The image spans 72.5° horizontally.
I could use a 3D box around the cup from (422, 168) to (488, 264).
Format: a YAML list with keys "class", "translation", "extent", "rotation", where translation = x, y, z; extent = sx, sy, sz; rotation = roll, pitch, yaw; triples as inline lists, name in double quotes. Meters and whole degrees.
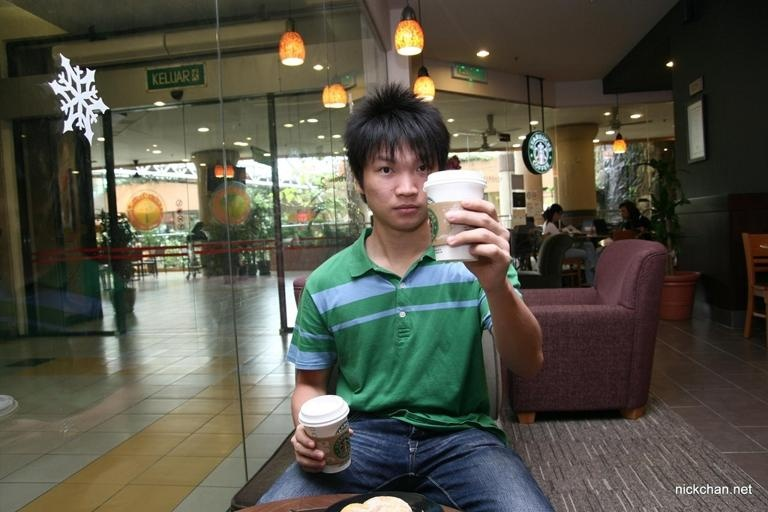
- class: "cup"
  translation: [0.218, -0.120, 1.568]
  extent: [0.183, 0.267, 0.093]
  rotation: [-1, 9, 3]

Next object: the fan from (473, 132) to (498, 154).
- class: "fan"
  translation: [1.959, -2.145, 9.965]
  extent: [0.276, 0.296, 0.280]
  rotation: [0, -1, -13]

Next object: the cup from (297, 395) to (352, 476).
- class: "cup"
  translation: [-0.177, 0.576, 1.647]
  extent: [0.162, 0.278, 0.108]
  rotation: [-4, 9, -16]

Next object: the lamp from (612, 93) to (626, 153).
- class: "lamp"
  translation: [4.756, -2.576, 10.529]
  extent: [0.304, 1.037, 1.779]
  rotation: [2, 9, 24]

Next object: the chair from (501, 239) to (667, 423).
- class: "chair"
  translation: [1.285, 0.427, 3.923]
  extent: [1.172, 1.281, 1.216]
  rotation: [0, 3, 8]

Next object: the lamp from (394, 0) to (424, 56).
- class: "lamp"
  translation: [0.249, -2.186, 5.031]
  extent: [0.248, 0.453, 0.390]
  rotation: [-1, 9, 4]
